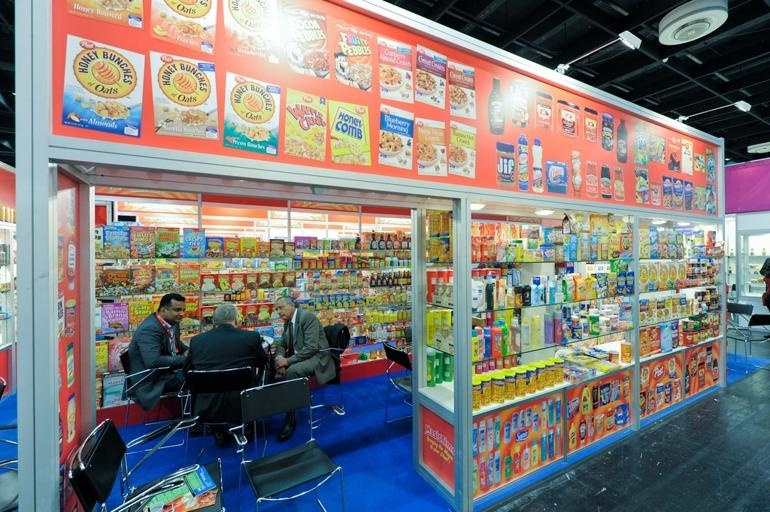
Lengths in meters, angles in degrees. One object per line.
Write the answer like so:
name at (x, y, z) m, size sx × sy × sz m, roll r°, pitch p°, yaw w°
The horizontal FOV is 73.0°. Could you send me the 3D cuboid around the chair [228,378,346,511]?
chair at (-1.060, 2.096, 5.805) m, size 1.165 × 1.340 × 1.131 m, roll -2°, pitch 0°, yaw -15°
